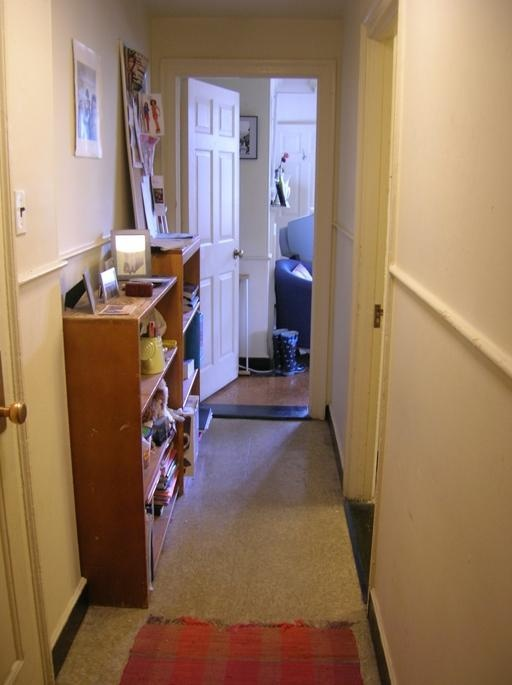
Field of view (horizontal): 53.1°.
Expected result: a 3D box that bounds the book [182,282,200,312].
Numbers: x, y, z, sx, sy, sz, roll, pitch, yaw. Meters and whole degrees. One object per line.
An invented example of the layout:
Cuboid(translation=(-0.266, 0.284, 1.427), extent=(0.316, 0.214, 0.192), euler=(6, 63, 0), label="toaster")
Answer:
Cuboid(translation=(-0.394, -0.271, 3.062), extent=(0.103, 0.075, 0.184), euler=(1, 28, -8), label="book")

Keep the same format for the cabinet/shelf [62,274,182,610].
Cuboid(translation=(-0.497, 0.370, 2.124), extent=(0.147, 0.990, 0.809), euler=(-1, 9, 1), label="cabinet/shelf")

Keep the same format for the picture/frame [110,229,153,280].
Cuboid(translation=(-0.544, -0.375, 2.221), extent=(0.165, 0.027, 0.312), euler=(1, 52, -21), label="picture/frame")

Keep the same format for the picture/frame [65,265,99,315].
Cuboid(translation=(-0.621, -0.184, 1.802), extent=(0.059, 0.172, 0.142), euler=(4, 19, -7), label="picture/frame")

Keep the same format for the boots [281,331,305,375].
Cuboid(translation=(0.370, 0.060, 5.015), extent=(0.230, 0.390, 0.534), euler=(5, 11, 23), label="boots")

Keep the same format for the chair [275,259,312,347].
Cuboid(translation=(0.401, -0.501, 5.561), extent=(0.501, 0.950, 0.648), euler=(5, 20, 9), label="chair")

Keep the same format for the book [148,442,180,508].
Cuboid(translation=(-0.431, 0.621, 2.439), extent=(0.103, 0.053, 0.201), euler=(1, 35, 4), label="book")
